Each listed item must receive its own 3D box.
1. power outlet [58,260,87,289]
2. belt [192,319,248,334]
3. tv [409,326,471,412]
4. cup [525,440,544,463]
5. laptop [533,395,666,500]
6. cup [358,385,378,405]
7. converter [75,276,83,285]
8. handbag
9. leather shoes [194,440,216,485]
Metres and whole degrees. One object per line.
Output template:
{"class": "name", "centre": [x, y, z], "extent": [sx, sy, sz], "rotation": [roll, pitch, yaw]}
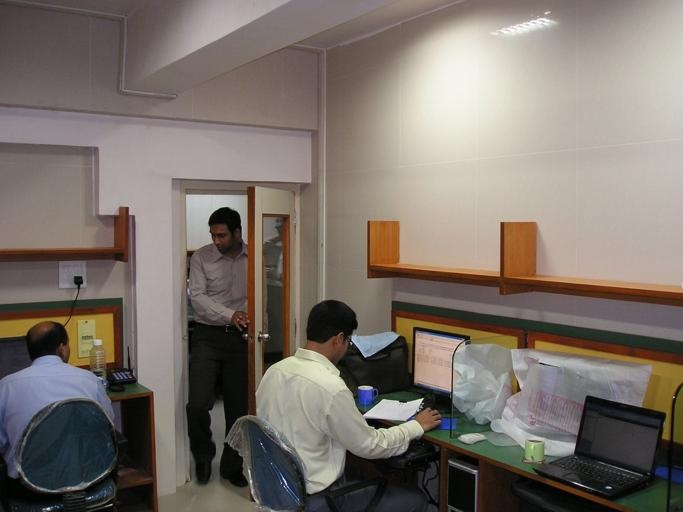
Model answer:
{"class": "power outlet", "centre": [-1.956, 0.131, 3.604], "extent": [0.188, 0.207, 0.021], "rotation": [-1, 2, -33]}
{"class": "belt", "centre": [-1.003, 0.582, 4.088], "extent": [0.573, 0.104, 0.128], "rotation": [4, 5, 32]}
{"class": "tv", "centre": [0.600, 0.691, 3.000], "extent": [0.139, 0.467, 0.395], "rotation": [-3, 7, -37]}
{"class": "cup", "centre": [0.896, 0.913, 2.320], "extent": [0.064, 0.076, 0.100], "rotation": [1, 4, 33]}
{"class": "laptop", "centre": [1.138, 0.827, 2.198], "extent": [0.412, 0.302, 0.395], "rotation": [-3, 6, -41]}
{"class": "cup", "centre": [0.163, 0.865, 3.072], "extent": [0.109, 0.091, 0.086], "rotation": [3, -4, -13]}
{"class": "converter", "centre": [-1.906, 0.179, 3.613], "extent": [0.069, 0.078, 0.052], "rotation": [2, -2, -25]}
{"class": "handbag", "centre": [0.222, 0.590, 3.254], "extent": [0.494, 0.395, 0.289], "rotation": [-3, 3, -17]}
{"class": "leather shoes", "centre": [-1.077, 1.670, 4.016], "extent": [0.122, 0.404, 0.150], "rotation": [0, 13, 9]}
